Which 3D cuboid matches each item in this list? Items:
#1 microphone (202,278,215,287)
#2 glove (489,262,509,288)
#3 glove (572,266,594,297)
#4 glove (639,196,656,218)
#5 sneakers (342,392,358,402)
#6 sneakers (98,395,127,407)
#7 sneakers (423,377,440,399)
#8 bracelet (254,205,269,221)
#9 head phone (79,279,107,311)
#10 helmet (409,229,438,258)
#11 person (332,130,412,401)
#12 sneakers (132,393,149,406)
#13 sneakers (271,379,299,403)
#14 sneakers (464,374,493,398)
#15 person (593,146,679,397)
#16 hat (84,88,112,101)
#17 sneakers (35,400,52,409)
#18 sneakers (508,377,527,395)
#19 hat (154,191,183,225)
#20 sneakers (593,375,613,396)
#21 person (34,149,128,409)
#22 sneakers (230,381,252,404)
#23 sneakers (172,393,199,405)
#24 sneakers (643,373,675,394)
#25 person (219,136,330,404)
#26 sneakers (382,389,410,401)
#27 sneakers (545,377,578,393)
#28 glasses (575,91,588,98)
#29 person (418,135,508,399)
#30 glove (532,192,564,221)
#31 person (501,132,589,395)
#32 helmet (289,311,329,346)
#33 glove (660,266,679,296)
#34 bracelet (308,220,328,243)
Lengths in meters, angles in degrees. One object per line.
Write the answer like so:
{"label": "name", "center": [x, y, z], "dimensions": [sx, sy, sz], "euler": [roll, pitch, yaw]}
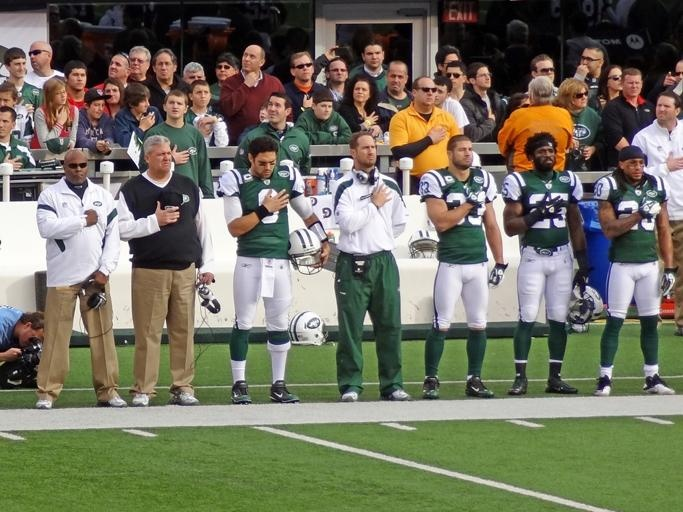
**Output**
{"label": "microphone", "center": [-1.291, 0.233, 16.755], "dimensions": [0.109, 0.055, 0.149], "euler": [2, -11, -43]}
{"label": "glove", "center": [1.571, 0.168, 16.658], "dimensions": [0.102, 0.235, 0.186], "euler": [23, -5, -34]}
{"label": "glove", "center": [2.393, 0.246, 16.721], "dimensions": [0.118, 0.295, 0.219], "euler": [13, 4, -17]}
{"label": "glove", "center": [2.956, -0.477, 16.500], "dimensions": [0.179, 0.181, 0.090], "euler": [-3, 12, -14]}
{"label": "sneakers", "center": [0.094, 1.293, 16.145], "dimensions": [0.150, 0.086, 0.136], "euler": [0, 12, -4]}
{"label": "sneakers", "center": [-2.107, 1.315, 15.944], "dimensions": [0.284, 0.120, 0.106], "euler": [-3, -6, 18]}
{"label": "sneakers", "center": [0.869, 1.225, 16.345], "dimensions": [0.155, 0.218, 0.245], "euler": [1, 12, 2]}
{"label": "bracelet", "center": [-0.731, -0.425, 16.095], "dimensions": [0.142, 0.054, 0.105], "euler": [-32, 20, 20]}
{"label": "head phone", "center": [-2.285, 0.328, 15.830], "dimensions": [0.208, 0.241, 0.126], "euler": [15, 37, 39]}
{"label": "helmet", "center": [0.981, -0.161, 20.222], "dimensions": [0.265, 0.315, 0.340], "euler": [1, -21, -3]}
{"label": "person", "center": [0.300, 0.093, 16.294], "dimensions": [0.713, 2.517, 0.855], "euler": [0, 12, -3]}
{"label": "sneakers", "center": [-1.860, 1.302, 16.011], "dimensions": [0.162, 0.145, 0.250], "euler": [-1, 12, -7]}
{"label": "sneakers", "center": [-0.550, 1.267, 16.273], "dimensions": [0.131, 0.156, 0.370], "euler": [2, -4, -33]}
{"label": "sneakers", "center": [1.324, 1.236, 16.492], "dimensions": [0.121, 0.174, 0.352], "euler": [0, -4, -33]}
{"label": "person", "center": [2.811, 0.113, 16.503], "dimensions": [0.754, 2.287, 0.862], "euler": [2, 12, 8]}
{"label": "hat", "center": [-2.831, -1.860, 19.945], "dimensions": [0.236, 0.116, 0.145], "euler": [-17, -2, 20]}
{"label": "sneakers", "center": [-2.724, 1.326, 15.773], "dimensions": [0.145, 0.087, 0.181], "euler": [-1, 12, -9]}
{"label": "sneakers", "center": [1.726, 1.211, 16.620], "dimensions": [0.182, 0.190, 0.360], "euler": [2, 12, 7]}
{"label": "hat", "center": [-1.587, -0.477, 15.916], "dimensions": [0.223, 0.303, 0.111], "euler": [5, -12, -6]}
{"label": "sneakers", "center": [2.534, 1.220, 16.505], "dimensions": [0.172, 0.206, 0.455], "euler": [0, -4, 14]}
{"label": "person", "center": [-2.419, 0.219, 15.858], "dimensions": [0.831, 2.378, 0.687], "euler": [-2, 12, -10]}
{"label": "sneakers", "center": [-0.933, 1.259, 16.217], "dimensions": [0.190, 0.228, 0.382], "euler": [0, 12, -3]}
{"label": "sneakers", "center": [-1.456, 1.311, 16.079], "dimensions": [0.269, 0.123, 0.100], "euler": [-5, -6, 33]}
{"label": "sneakers", "center": [3.053, 1.211, 16.548], "dimensions": [0.131, 0.176, 0.361], "euler": [1, -5, -37]}
{"label": "person", "center": [-0.664, 0.115, 16.283], "dimensions": [0.902, 2.496, 0.827], "euler": [-1, 12, -9]}
{"label": "sneakers", "center": [0.530, 1.291, 16.299], "dimensions": [0.278, 0.128, 0.102], "euler": [-8, -10, 34]}
{"label": "sneakers", "center": [2.138, 1.219, 16.617], "dimensions": [0.276, 0.117, 0.145], "euler": [0, 2, 12]}
{"label": "glasses", "center": [2.741, -1.839, 19.417], "dimensions": [0.053, 0.066, 0.229], "euler": [7, 13, 29]}
{"label": "person", "center": [1.180, 0.164, 16.480], "dimensions": [0.826, 2.233, 0.882], "euler": [1, 12, 0]}
{"label": "glove", "center": [1.993, -0.487, 16.485], "dimensions": [0.304, 0.260, 0.147], "euler": [-4, 13, -23]}
{"label": "person", "center": [1.987, 0.060, 16.579], "dimensions": [0.833, 2.472, 0.758], "euler": [1, 12, 2]}
{"label": "helmet", "center": [-0.300, 0.733, 17.749], "dimensions": [0.372, 0.300, 0.280], "euler": [-3, 5, -39]}
{"label": "glove", "center": [3.189, 0.228, 16.705], "dimensions": [0.140, 0.291, 0.215], "euler": [11, 0, 6]}
{"label": "bracelet", "center": [-0.202, -0.248, 16.517], "dimensions": [0.140, 0.217, 0.083], "euler": [-37, -9, 3]}
